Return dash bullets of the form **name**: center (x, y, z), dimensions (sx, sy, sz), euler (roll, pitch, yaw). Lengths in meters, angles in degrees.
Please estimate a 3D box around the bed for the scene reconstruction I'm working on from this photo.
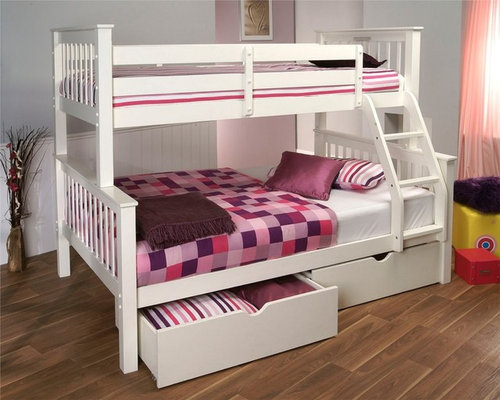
- **bed**: center (-0.071, 0.010, 3.115), dimensions (2.763, 1.898, 1.976), euler (-7, 13, -32)

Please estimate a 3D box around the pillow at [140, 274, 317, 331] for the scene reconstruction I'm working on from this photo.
- **pillow**: center (-0.119, 0.517, 2.387), dimensions (0.890, 0.119, 0.326), euler (-4, 14, -23)

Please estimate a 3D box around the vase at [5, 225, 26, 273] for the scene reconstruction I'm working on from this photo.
- **vase**: center (-1.652, 0.332, 3.169), dimensions (0.114, 0.308, 0.196), euler (-5, 15, -28)
